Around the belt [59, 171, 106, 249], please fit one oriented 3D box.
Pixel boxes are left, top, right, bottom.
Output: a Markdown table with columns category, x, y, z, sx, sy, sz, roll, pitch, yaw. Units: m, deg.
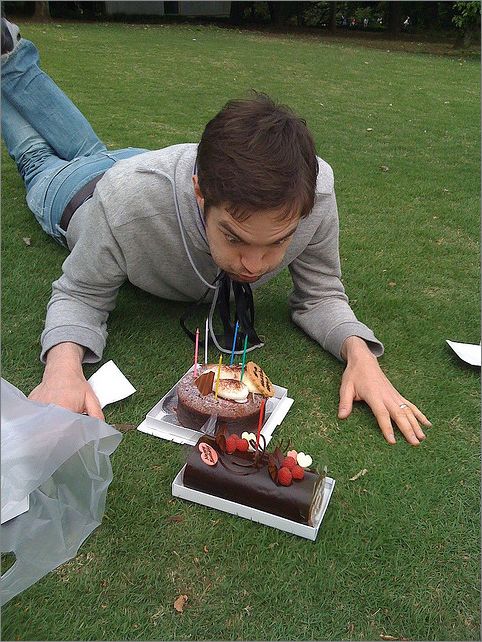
| category | x | y | z | sx | sy | sz | roll | pitch | yaw |
| --- | --- | --- | --- | --- | --- | --- | --- | --- | --- |
| belt | -0.826 | -0.561 | 2.605 | 0.083 | 0.324 | 0.241 | 52 | 9 | 27 |
